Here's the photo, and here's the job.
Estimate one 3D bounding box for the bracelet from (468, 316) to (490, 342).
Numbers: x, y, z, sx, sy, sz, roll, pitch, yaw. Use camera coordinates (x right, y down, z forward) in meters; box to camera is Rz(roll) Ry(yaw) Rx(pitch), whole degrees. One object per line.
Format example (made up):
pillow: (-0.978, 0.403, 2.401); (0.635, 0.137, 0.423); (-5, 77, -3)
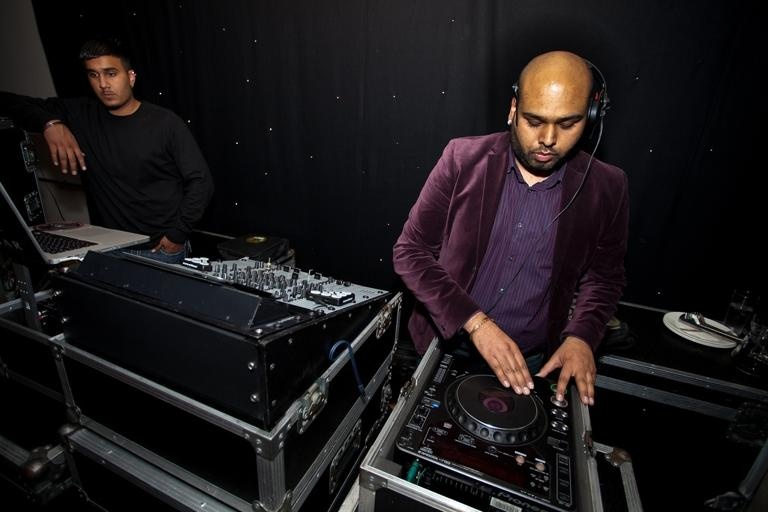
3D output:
bracelet: (0.439, 0.333, 2.286); (0.024, 0.089, 0.091); (38, 24, -14)

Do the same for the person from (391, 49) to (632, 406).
person: (0.638, -0.111, 2.363); (1.130, 1.586, 0.827); (4, 23, 4)
